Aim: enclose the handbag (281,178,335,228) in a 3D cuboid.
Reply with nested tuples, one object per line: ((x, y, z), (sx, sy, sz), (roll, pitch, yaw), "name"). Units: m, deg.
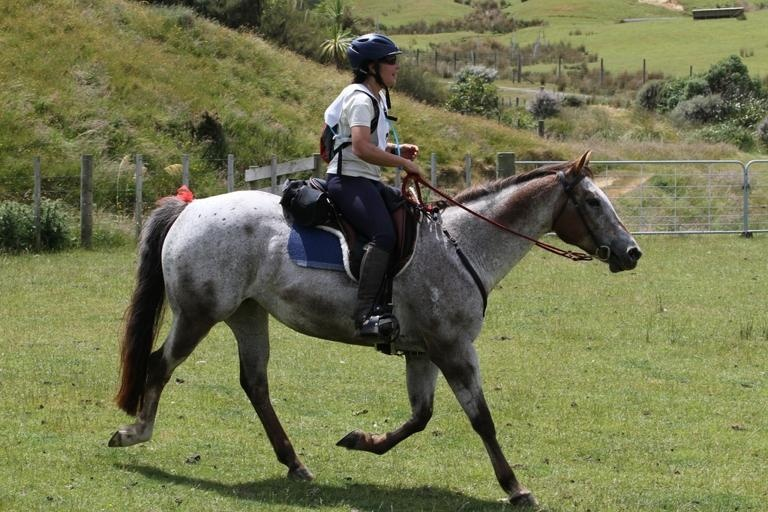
((-2.078, -1.471, 37.469), (1.437, 1.220, 0.663), (5, -15, -9), "handbag")
